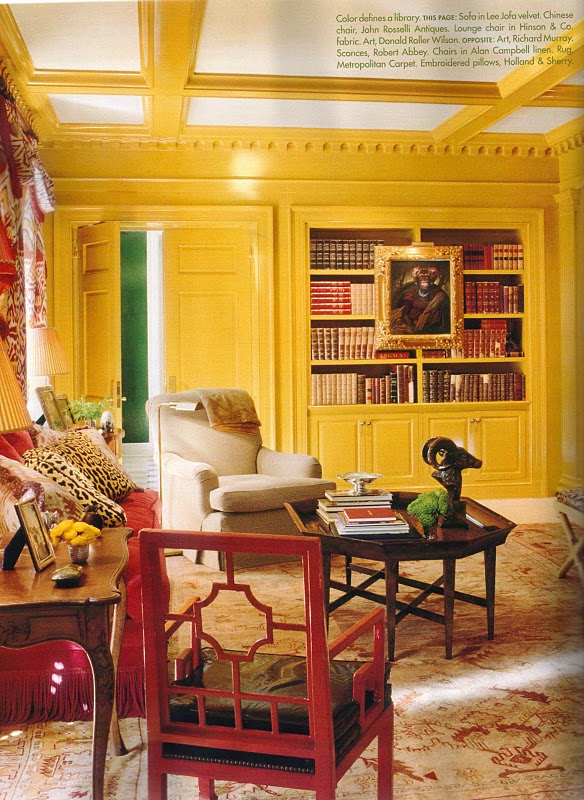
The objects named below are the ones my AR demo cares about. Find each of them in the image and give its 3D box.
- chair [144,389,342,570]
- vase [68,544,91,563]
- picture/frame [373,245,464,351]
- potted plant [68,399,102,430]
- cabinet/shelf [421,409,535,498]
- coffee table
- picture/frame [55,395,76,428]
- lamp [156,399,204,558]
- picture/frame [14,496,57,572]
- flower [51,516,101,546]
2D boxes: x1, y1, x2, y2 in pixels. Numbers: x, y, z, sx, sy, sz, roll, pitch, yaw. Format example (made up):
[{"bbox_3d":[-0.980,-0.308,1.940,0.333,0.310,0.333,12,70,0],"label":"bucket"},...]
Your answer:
[{"bbox_3d":[-0.335,0.471,4.464,0.860,1.011,1.014,-2,4,-33],"label":"chair"},{"bbox_3d":[-0.555,0.401,1.831,0.049,0.048,0.049,2,-8,-14],"label":"vase"},{"bbox_3d":[1.039,-0.874,5.917,0.992,1.042,0.086,0,-2,-8],"label":"picture/frame"},{"bbox_3d":[-1.417,0.094,4.939,0.269,0.232,0.252,2,-4,-26],"label":"potted plant"},{"bbox_3d":[1.593,0.389,6.185,0.914,0.728,0.315,-3,17,6],"label":"cabinet/shelf"},{"bbox_3d":[0.550,0.737,2.990,0.771,0.469,0.855,0,2,33],"label":"coffee table"},{"bbox_3d":[-1.532,0.085,4.732,0.025,0.234,0.210,-24,6,11],"label":"picture/frame"},{"bbox_3d":[-0.708,0.422,4.302,0.294,0.817,0.179,0,-2,-4],"label":"lamp"},{"bbox_3d":[-0.677,0.361,1.852,0.021,0.189,0.175,-21,4,1],"label":"picture/frame"},{"bbox_3d":[-0.572,0.352,1.857,0.106,0.036,0.090,14,11,7],"label":"flower"}]
